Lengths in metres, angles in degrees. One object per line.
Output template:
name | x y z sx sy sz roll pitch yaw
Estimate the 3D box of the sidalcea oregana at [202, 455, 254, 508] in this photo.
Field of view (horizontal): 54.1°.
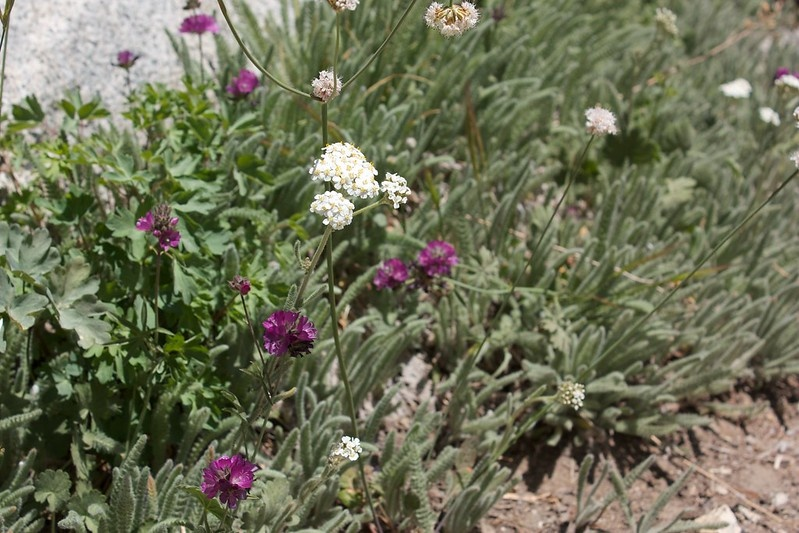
sidalcea oregana | -0.708 0.876 3.280 0.198 0.217 0.119 32 2 -10
